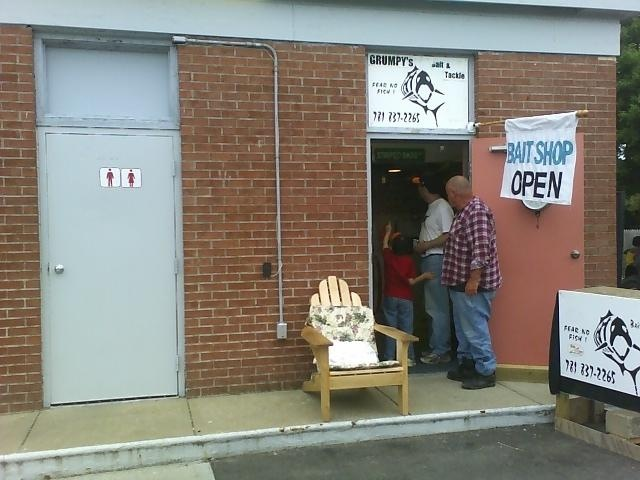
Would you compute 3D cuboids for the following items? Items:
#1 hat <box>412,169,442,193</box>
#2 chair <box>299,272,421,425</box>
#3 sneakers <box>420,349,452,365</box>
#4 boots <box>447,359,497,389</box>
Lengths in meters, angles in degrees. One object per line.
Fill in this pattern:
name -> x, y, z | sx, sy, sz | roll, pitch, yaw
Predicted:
hat -> 1.561, -0.857, 10.990 | 0.314, 0.333, 0.390 | -4, 1, -15
chair -> 0.319, 1.131, 8.489 | 1.069, 1.291, 1.521 | -2, 4, -11
sneakers -> 1.484, 1.515, 9.695 | 0.374, 0.164, 0.161 | 4, -3, -17
boots -> 1.762, 1.606, 8.822 | 0.225, 0.293, 0.654 | -11, -6, -27
